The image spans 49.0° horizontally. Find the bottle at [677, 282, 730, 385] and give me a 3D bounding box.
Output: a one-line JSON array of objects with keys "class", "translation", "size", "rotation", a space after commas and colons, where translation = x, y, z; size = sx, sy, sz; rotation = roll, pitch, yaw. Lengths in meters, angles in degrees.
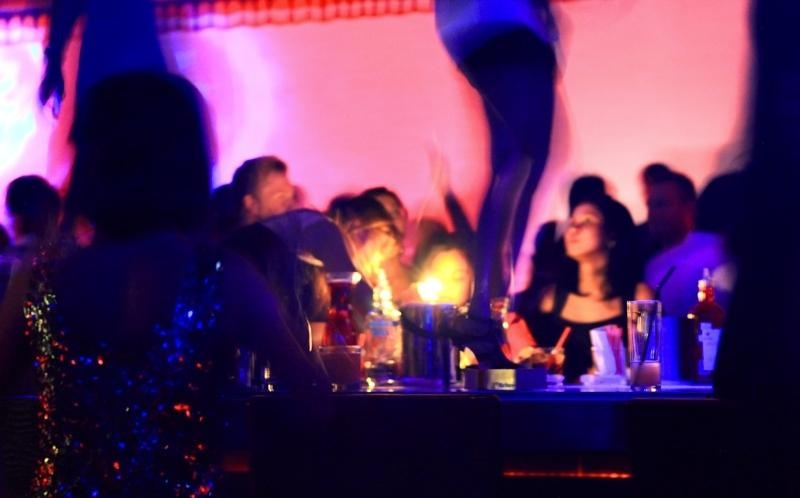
[{"class": "bottle", "translation": [1.113, 0.339, 3.238], "size": [0.154, 0.295, 0.124], "rotation": [-1, -5, 18]}]

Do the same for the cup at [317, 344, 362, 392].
[{"class": "cup", "translation": [-0.183, 0.418, 3.077], "size": [0.154, 0.149, 0.144], "rotation": [-3, 0, 0]}]
